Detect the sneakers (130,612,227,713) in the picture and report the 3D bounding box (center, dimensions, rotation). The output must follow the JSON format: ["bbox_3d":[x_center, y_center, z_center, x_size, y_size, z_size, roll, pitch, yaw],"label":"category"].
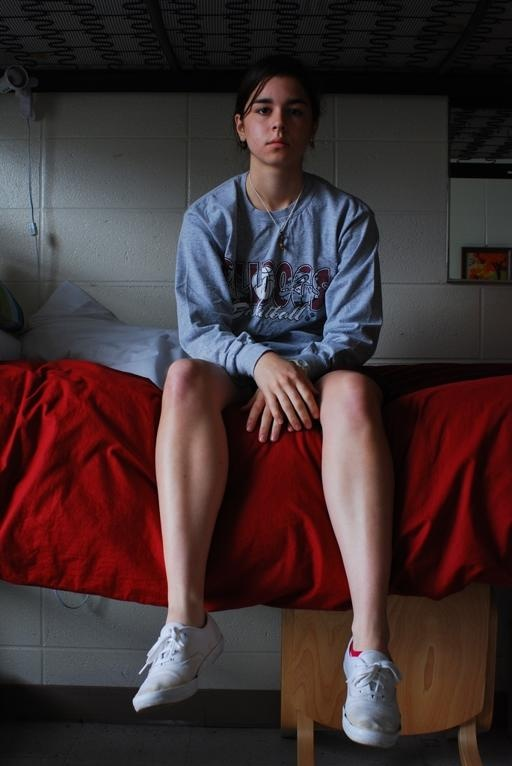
[{"bbox_3d":[-0.099,0.379,0.897,0.067,0.082,0.202,-14,5,21],"label":"sneakers"}]

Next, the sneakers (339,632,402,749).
[{"bbox_3d":[0.154,0.412,0.840,0.055,0.059,0.157,2,17,3],"label":"sneakers"}]
